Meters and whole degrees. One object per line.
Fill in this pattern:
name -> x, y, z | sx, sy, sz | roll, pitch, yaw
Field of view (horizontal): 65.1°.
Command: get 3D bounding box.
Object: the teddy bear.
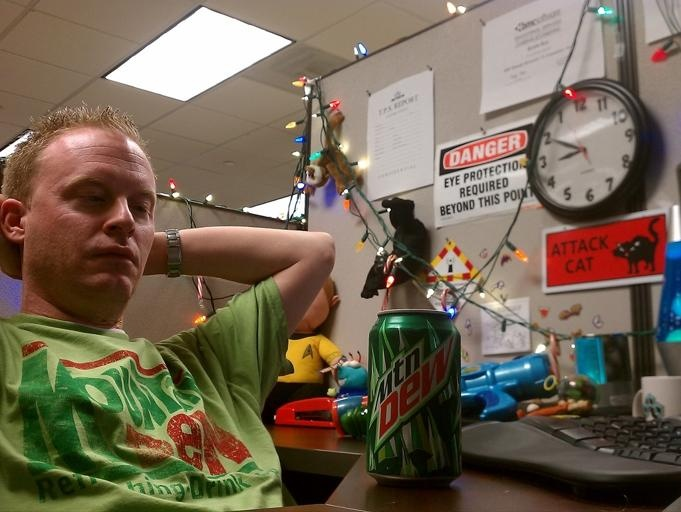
teddy bear -> 0.177, -0.045, 1.441 | 0.129, 0.227, 0.068 | -2, -9, 22

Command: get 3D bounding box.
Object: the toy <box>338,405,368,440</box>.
toy -> 0.027, 0.346, 1.104 | 0.074, 0.073, 0.057 | 3, -8, 18

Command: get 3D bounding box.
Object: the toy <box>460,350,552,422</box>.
toy -> 0.346, 0.286, 1.103 | 0.153, 0.154, 0.058 | -23, -56, 19

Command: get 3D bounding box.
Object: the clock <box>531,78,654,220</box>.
clock -> 0.556, -0.230, 1.164 | 0.049, 0.316, 0.254 | 18, -25, -40

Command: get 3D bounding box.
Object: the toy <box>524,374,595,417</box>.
toy -> 0.436, 0.270, 1.060 | 0.122, 0.061, 0.094 | -11, -2, -7
